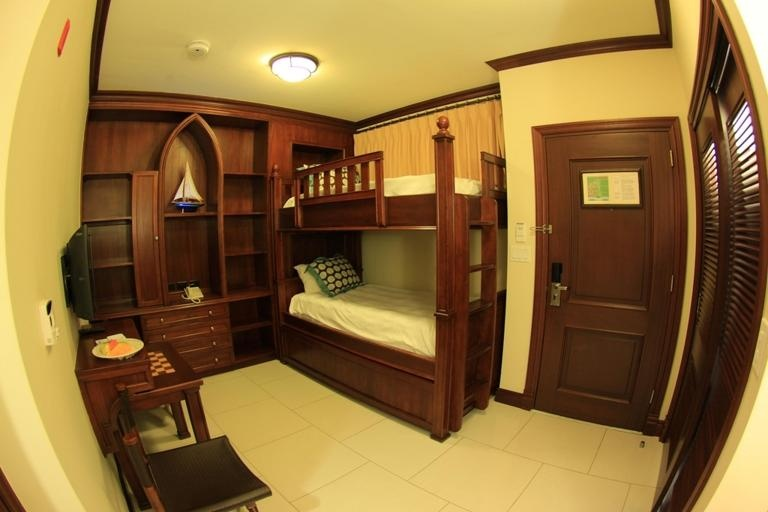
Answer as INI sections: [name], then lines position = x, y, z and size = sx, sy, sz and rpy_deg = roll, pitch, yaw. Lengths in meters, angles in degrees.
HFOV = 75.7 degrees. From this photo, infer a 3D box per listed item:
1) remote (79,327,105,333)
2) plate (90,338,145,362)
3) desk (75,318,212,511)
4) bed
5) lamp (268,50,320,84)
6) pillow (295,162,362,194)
[remote]
position = -2.128, 0.547, 3.602
size = 0.058, 0.019, 0.083
rpy_deg = 5, 5, 38
[plate]
position = -1.675, 0.596, 3.172
size = 0.176, 0.057, 0.185
rpy_deg = 4, 6, 27
[desk]
position = -1.533, 1.028, 3.122
size = 0.401, 0.585, 1.119
rpy_deg = -21, 14, -23
[bed]
position = 0.031, 0.254, 4.293
size = 2.679, 2.602, 1.124
rpy_deg = 4, 6, 43
[lamp]
position = -0.720, -1.530, 4.006
size = 0.410, 0.153, 0.287
rpy_deg = -6, 7, -10
[pillow]
position = -0.481, -0.711, 4.707
size = 0.517, 0.161, 0.557
rpy_deg = -8, 25, -12
